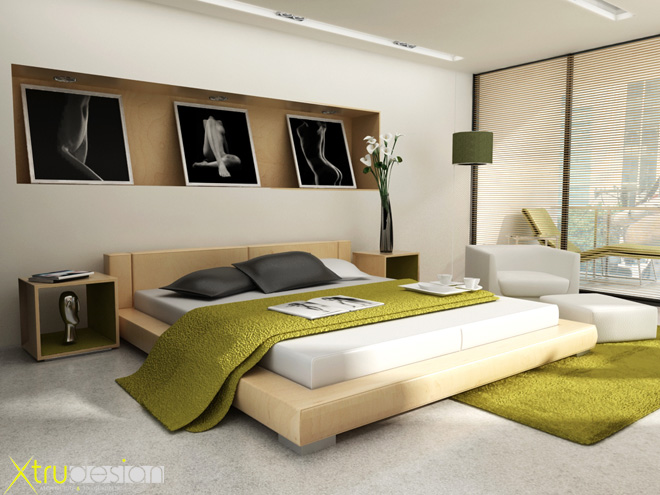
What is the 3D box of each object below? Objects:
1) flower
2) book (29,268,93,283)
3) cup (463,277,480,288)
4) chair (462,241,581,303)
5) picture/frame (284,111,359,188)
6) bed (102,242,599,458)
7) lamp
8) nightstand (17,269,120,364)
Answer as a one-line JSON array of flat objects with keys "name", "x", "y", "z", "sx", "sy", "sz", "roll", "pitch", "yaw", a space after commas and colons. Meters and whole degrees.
[{"name": "flower", "x": 0.627, "y": -0.958, "z": 5.548, "sx": 0.521, "sy": 0.700, "sz": 0.511, "roll": -18, "pitch": 21, "yaw": -13}, {"name": "book", "x": -2.140, "y": 0.232, "z": 3.655, "sx": 0.434, "sy": 0.077, "sz": 0.245, "roll": -7, "pitch": 11, "yaw": -39}, {"name": "cup", "x": 1.206, "y": 0.298, "z": 3.846, "sx": 0.101, "sy": 0.080, "sz": 0.133, "roll": -1, "pitch": -6, "yaw": 9}, {"name": "chair", "x": 2.207, "y": 0.357, "z": 5.277, "sx": 1.029, "sy": 0.681, "sz": 0.767, "roll": -1, "pitch": 6, "yaw": -3}, {"name": "picture/frame", "x": -0.142, "y": -1.185, "z": 5.520, "sx": 1.115, "sy": 0.913, "sz": 0.040, "roll": -3, "pitch": -11, "yaw": -37}, {"name": "bed", "x": -0.328, "y": 0.661, "z": 3.232, "sx": 2.034, "sy": 0.514, "sz": 2.043, "roll": -5, "pitch": 8, "yaw": -38}, {"name": "lamp", "x": 1.972, "y": -0.788, "z": 6.465, "sx": 0.502, "sy": 1.610, "sz": 1.101, "roll": 2, "pitch": 10, "yaw": 14}, {"name": "nightstand", "x": -2.220, "y": 0.557, "z": 3.815, "sx": 0.573, "sy": 0.552, "sz": 0.661, "roll": 4, "pitch": 5, "yaw": 43}]
